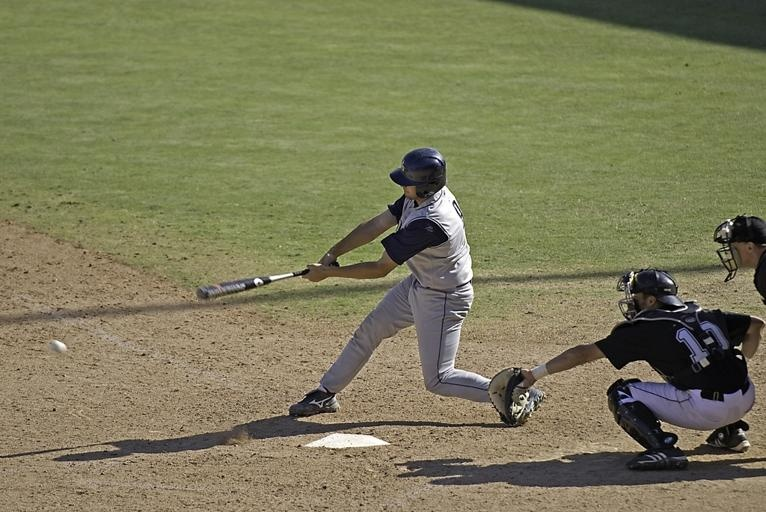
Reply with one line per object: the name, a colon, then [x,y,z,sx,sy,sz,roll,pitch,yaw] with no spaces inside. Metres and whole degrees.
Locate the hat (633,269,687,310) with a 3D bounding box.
hat: [2.687,0.304,12.941,0.543,0.346,0.385,21,13,29]

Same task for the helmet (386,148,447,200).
helmet: [0.408,-0.840,13.296,0.719,0.349,0.425,7,28,0]

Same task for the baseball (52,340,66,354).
baseball: [-3.539,0.971,14.479,0.182,0.094,0.177,7,14,-17]

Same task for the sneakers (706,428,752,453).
sneakers: [3.349,1.779,12.988,0.192,0.162,0.499,-9,9,-43]

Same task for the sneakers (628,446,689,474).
sneakers: [2.602,1.937,12.786,0.633,0.171,0.213,1,-6,-1]

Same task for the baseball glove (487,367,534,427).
baseball glove: [1.264,1.361,13.217,0.595,0.514,0.295,-12,24,-26]
